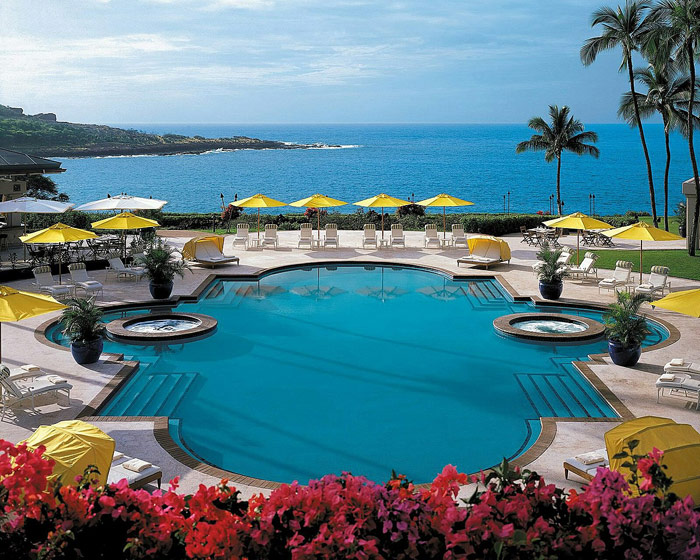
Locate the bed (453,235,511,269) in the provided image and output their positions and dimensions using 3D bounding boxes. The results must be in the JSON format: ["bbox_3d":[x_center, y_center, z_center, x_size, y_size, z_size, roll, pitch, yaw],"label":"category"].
[{"bbox_3d":[6.370,-1.340,23.944,2.283,1.137,1.709,-8,10,-42],"label":"bed"}]

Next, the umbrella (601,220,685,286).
[{"bbox_3d":[12.947,-1.137,23.029,3.787,2.713,3.644,7,16,28],"label":"umbrella"}]

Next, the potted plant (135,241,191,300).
[{"bbox_3d":[-6.918,-0.497,18.932,1.183,1.989,3.140,-8,12,-21],"label":"potted plant"}]

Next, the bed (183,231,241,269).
[{"bbox_3d":[-6.452,-1.307,23.504,2.285,1.300,1.755,-5,11,-15],"label":"bed"}]

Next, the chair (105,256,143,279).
[{"bbox_3d":[-9.386,-0.497,21.419,1.575,0.685,0.882,8,14,21],"label":"chair"}]

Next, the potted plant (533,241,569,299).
[{"bbox_3d":[7.365,-0.394,18.883,0.979,1.913,2.161,1,12,21],"label":"potted plant"}]
